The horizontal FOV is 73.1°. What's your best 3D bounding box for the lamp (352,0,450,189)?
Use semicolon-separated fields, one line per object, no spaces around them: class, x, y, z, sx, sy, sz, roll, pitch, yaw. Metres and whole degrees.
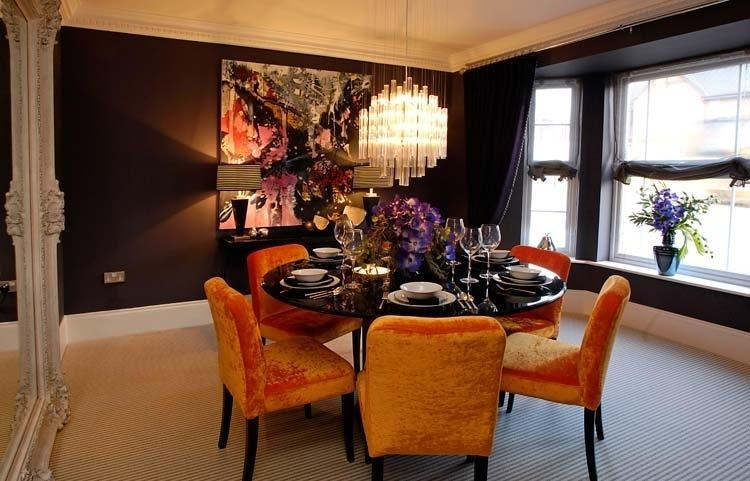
lamp;0.236;-1.507;5.405;0.902;1.912;1.374;-2;10;-12

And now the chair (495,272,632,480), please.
chair;1.496;0.873;4.532;1.353;2.111;1.195;4;5;26

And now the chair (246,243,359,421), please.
chair;-0.639;0.747;4.717;0.970;1.320;0.983;1;10;5

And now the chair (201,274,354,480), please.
chair;-0.705;0.992;3.784;1.016;1.417;0.514;-3;11;-18

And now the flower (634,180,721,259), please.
flower;3.211;-0.191;5.606;0.599;0.622;0.530;-5;-18;44

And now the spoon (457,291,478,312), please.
spoon;0.657;0.447;3.628;0.143;0.059;0.318;2;10;8

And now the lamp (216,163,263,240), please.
lamp;-1.594;-0.461;5.886;0.493;0.797;0.509;3;6;17

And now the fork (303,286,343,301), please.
fork;-0.376;0.399;3.805;0.351;0.046;0.090;-9;17;-34

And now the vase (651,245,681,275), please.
vase;3.309;0.217;5.764;0.298;0.343;0.308;3;5;0

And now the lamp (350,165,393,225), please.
lamp;-0.059;-0.553;6.339;0.637;0.921;0.649;1;2;-5
